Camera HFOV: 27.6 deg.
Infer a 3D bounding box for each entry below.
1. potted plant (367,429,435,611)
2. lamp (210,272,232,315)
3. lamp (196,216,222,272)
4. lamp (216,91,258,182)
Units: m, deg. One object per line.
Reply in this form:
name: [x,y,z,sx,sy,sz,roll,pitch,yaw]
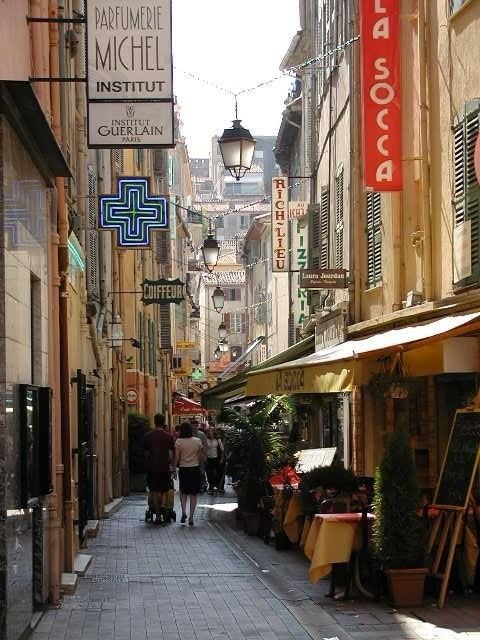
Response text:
potted plant: [1.314,1.606,8.035,0.427,1.449,0.319,-2,-4,12]
lamp: [-0.633,-0.870,29.237,0.479,1.417,0.374,-2,-23,2]
lamp: [-0.524,-1.283,17.097,0.300,1.123,0.352,11,-34,-20]
lamp: [-0.039,-2.493,12.609,0.309,1.349,0.421,0,2,12]
